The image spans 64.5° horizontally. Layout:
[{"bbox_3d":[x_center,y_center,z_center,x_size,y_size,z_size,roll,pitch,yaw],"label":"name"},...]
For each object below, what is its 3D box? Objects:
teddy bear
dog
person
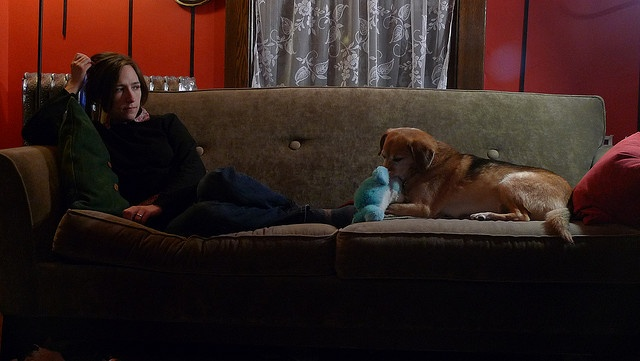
[{"bbox_3d":[0.303,0.062,2.657,0.225,0.301,0.124,15,-17,29],"label":"teddy bear"},{"bbox_3d":[0.790,0.006,2.676,1.241,0.504,0.441,3,-9,13],"label":"dog"},{"bbox_3d":[-0.797,-0.239,3.044,1.888,0.978,0.906,4,6,8],"label":"person"}]
